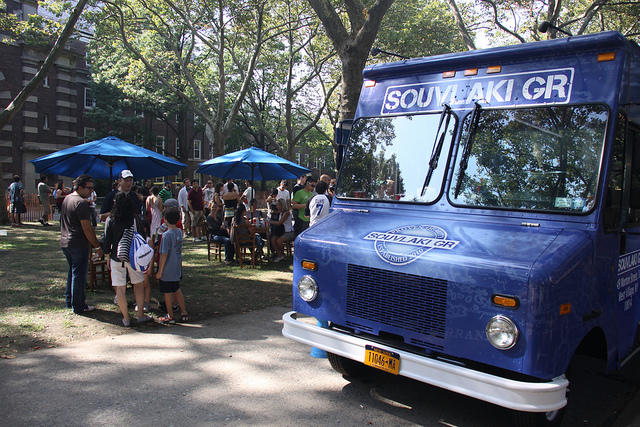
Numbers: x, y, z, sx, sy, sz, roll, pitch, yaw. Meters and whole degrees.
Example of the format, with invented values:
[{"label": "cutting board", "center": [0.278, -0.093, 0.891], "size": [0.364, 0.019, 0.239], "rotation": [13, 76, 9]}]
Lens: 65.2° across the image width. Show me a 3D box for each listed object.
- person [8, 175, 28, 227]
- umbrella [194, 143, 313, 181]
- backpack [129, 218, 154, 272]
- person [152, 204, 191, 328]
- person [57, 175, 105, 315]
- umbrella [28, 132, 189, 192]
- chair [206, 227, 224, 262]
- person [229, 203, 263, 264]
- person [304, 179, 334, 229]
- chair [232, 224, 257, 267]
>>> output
[{"label": "person", "center": [-13.266, -0.592, 21.888], "size": [0.591, 2.150, 1.084], "rotation": [-4, 11, -31]}, {"label": "umbrella", "center": [-2.096, -1.499, 15.604], "size": [3.086, 1.074, 2.454], "rotation": [4, 9, 13]}, {"label": "backpack", "center": [-3.091, 0.525, 8.652], "size": [0.462, 0.975, 0.393], "rotation": [5, 11, 15]}, {"label": "person", "center": [-2.642, 0.932, 9.031], "size": [0.677, 2.099, 0.649], "rotation": [3, 10, 9]}, {"label": "person", "center": [-4.479, 0.562, 9.395], "size": [0.665, 2.553, 0.966], "rotation": [-3, 11, -25]}, {"label": "umbrella", "center": [-5.148, -1.287, 12.604], "size": [2.631, 1.314, 2.884], "rotation": [5, 9, 20]}, {"label": "chair", "center": [-3.089, 0.910, 14.718], "size": [0.402, 0.843, 1.118], "rotation": [-1, 9, -14]}, {"label": "person", "center": [-2.066, 0.573, 13.918], "size": [0.948, 1.694, 1.050], "rotation": [7, 10, 39]}, {"label": "person", "center": [0.020, 0.078, 11.553], "size": [0.676, 2.073, 0.603], "rotation": [1, 39, 1]}, {"label": "chair", "center": [-1.928, 0.648, 13.506], "size": [0.535, 0.913, 0.613], "rotation": [15, -9, 14]}]
